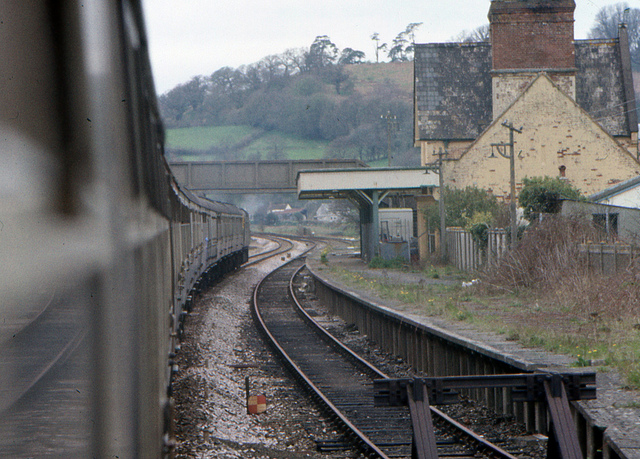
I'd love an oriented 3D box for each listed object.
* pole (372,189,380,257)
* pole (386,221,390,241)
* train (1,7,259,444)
[{"bbox_3d":[2.176,-0.292,42.413,0.255,2.669,0.649,-1,6,1],"label":"pole"},{"bbox_3d":[2.894,0.005,46.386,0.124,0.750,0.208,-1,6,-1],"label":"pole"},{"bbox_3d":[-1.799,-0.510,18.560,1.445,3.913,14.086,1,5,4],"label":"train"}]
